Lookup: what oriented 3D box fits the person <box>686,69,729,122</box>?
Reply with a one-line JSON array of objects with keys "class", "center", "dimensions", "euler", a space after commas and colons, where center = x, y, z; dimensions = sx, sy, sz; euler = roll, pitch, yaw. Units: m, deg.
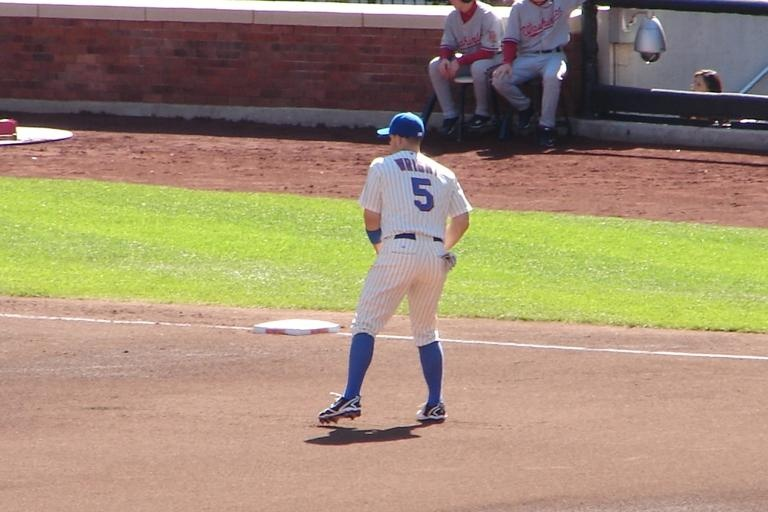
[{"class": "person", "center": [5.514, -2.823, 30.663], "dimensions": [0.499, 0.842, 1.077], "euler": [6, 12, 8]}]

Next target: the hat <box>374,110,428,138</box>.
[{"class": "hat", "center": [0.027, -1.488, 19.693], "dimensions": [0.712, 0.241, 0.387], "euler": [4, 10, 12]}]

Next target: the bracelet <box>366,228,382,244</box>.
[{"class": "bracelet", "center": [-0.159, -0.217, 19.617], "dimensions": [0.203, 0.151, 0.174], "euler": [-22, -6, 4]}]

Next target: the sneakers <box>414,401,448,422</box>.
[{"class": "sneakers", "center": [0.475, 1.779, 19.461], "dimensions": [0.433, 0.141, 0.169], "euler": [0, 12, 13]}]

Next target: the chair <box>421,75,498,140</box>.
[{"class": "chair", "center": [1.196, -2.626, 30.589], "dimensions": [1.626, 1.288, 1.078], "euler": [1, 17, -1]}]
